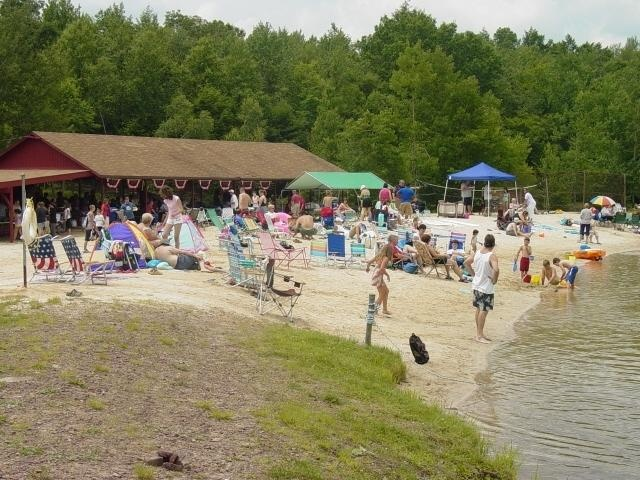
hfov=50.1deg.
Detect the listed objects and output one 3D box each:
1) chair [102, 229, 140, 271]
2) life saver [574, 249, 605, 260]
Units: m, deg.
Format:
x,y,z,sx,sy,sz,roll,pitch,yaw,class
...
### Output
x,y,z,sx,sy,sz,roll,pitch,yaw,class
-4.818,0.351,16.948,0.751,1.271,0.509,-2,9,19,chair
10.083,0.556,25.705,0.701,0.280,0.543,4,5,27,life saver
